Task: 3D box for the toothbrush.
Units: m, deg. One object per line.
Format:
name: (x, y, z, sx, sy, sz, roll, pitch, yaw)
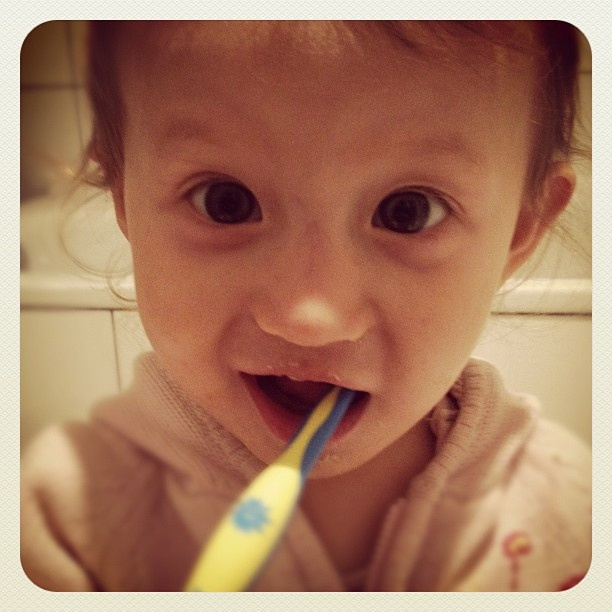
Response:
toothbrush: (-0.016, 0.129, 0.603, 0.043, 0.290, 0.015, 20, 24, -25)
